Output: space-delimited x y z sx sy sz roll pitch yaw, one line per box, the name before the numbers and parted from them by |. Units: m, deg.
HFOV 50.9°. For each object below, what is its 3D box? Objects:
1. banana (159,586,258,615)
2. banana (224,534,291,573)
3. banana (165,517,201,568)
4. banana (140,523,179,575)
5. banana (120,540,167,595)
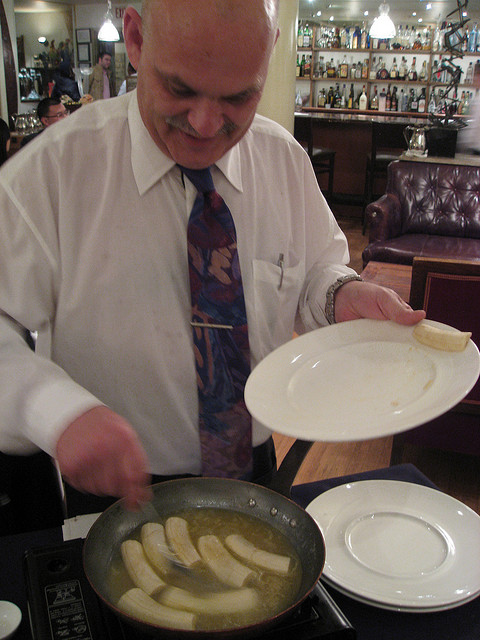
banana | -0.029 0.259 0.463 0.065 0.032 0.018 0 41 1
banana | 0.019 0.242 0.545 0.024 0.024 0.072 26 -9 -42
banana | -0.063 0.239 0.550 0.022 0.017 0.061 -16 23 -16
banana | -0.084 0.234 0.532 0.019 0.021 0.067 33 -1 -21
banana | -0.098 0.252 0.507 0.024 0.019 0.071 -6 16 -33
